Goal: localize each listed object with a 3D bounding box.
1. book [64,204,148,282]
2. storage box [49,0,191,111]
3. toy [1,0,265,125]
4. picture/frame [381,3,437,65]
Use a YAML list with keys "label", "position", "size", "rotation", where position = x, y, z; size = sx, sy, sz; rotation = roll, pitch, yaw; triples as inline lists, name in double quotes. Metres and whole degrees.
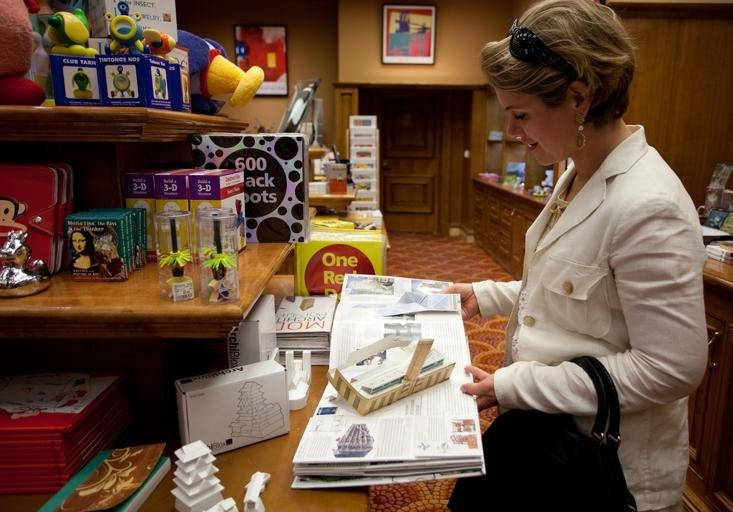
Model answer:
- label: "book"
  position: [-0.636, -0.042, 1.338]
  size: [0.236, 0.227, 0.177]
  rotation: [2, 14, -3]
- label: "storage box"
  position: [-0.687, -0.494, 1.454]
  size: [0.352, 0.292, 0.349]
  rotation: [0, 12, -12]
- label: "toy"
  position: [-0.676, -0.580, 1.658]
  size: [0.565, 0.169, 0.402]
  rotation: [4, 14, -6]
- label: "picture/frame"
  position: [0.584, -3.062, 6.778]
  size: [0.788, 0.782, 0.060]
  rotation: [0, 11, -3]
